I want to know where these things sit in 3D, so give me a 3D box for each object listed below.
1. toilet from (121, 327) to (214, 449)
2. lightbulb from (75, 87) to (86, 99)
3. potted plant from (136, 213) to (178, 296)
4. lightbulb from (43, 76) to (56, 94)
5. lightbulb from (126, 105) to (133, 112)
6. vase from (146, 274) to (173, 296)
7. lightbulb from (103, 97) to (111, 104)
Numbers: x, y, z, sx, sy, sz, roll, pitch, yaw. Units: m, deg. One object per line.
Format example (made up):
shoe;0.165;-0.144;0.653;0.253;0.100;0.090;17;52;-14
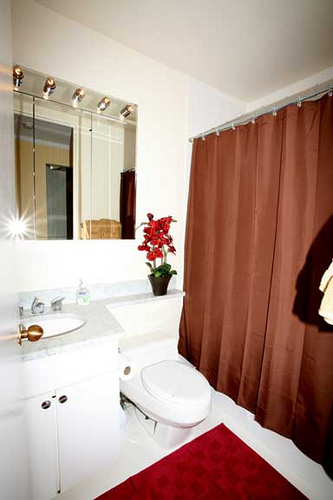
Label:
toilet;-0.040;0.723;1.831;0.375;0.496;0.612;-3;7;-24
lightbulb;-0.454;-0.833;1.810;0.040;0.051;0.051;-27;-24;-6
potted plant;-0.047;0.028;2.168;0.220;0.532;0.344;8;13;38
lightbulb;-0.599;-0.835;1.714;0.047;0.096;0.033;14;9;-18
lightbulb;-0.218;-0.836;1.995;0.025;0.036;0.051;7;14;35
vase;-0.030;0.205;2.085;0.111;0.118;0.136;-4;-6;43
lightbulb;-0.340;-0.853;1.912;0.040;0.050;0.026;-11;-30;-2
